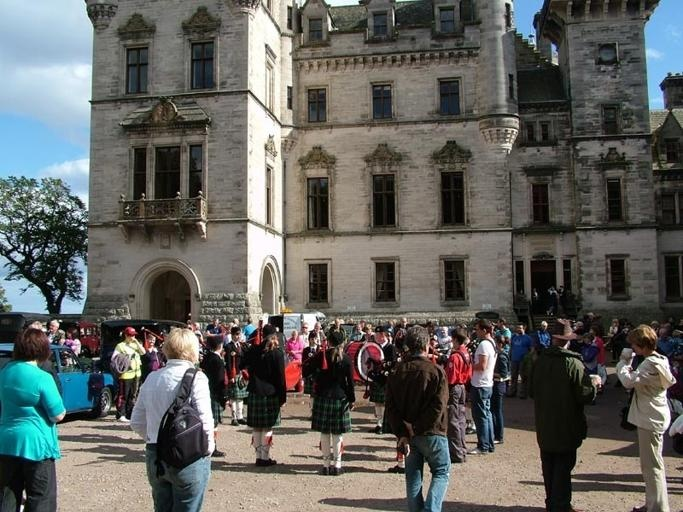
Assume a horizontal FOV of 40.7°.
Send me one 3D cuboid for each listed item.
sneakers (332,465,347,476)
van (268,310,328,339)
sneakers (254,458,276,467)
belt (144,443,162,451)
[{"bbox_3d":[-0.076,5.141,22.211,0.185,0.212,0.385,-5,-6,42],"label":"sneakers"},{"bbox_3d":[-1.732,2.533,35.012,1.922,0.960,1.086,4,-7,-24],"label":"van"},{"bbox_3d":[-1.869,5.029,22.705,0.489,0.184,0.205,1,-2,-29],"label":"sneakers"},{"bbox_3d":[-3.773,3.768,18.556,0.222,0.166,0.220,-2,0,-41],"label":"belt"}]
